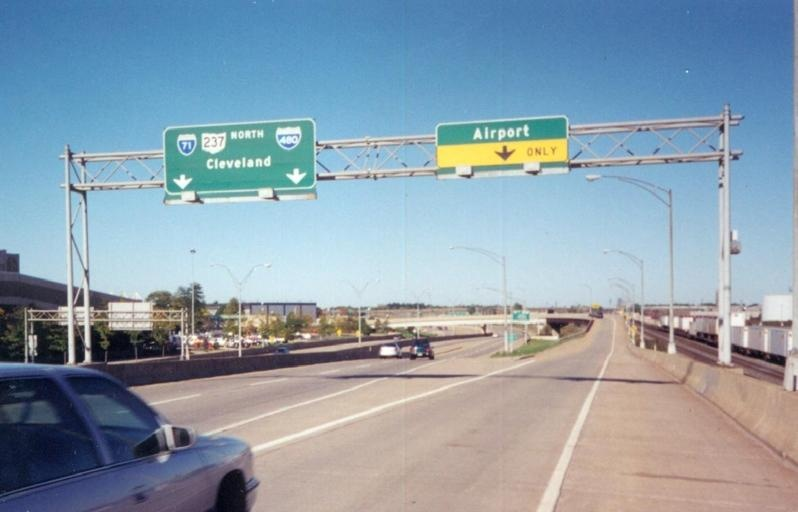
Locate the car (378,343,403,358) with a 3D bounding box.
[{"bbox_3d":[-0.647,6.671,55.631,1.247,1.000,1.579,-5,-6,10],"label":"car"}]
